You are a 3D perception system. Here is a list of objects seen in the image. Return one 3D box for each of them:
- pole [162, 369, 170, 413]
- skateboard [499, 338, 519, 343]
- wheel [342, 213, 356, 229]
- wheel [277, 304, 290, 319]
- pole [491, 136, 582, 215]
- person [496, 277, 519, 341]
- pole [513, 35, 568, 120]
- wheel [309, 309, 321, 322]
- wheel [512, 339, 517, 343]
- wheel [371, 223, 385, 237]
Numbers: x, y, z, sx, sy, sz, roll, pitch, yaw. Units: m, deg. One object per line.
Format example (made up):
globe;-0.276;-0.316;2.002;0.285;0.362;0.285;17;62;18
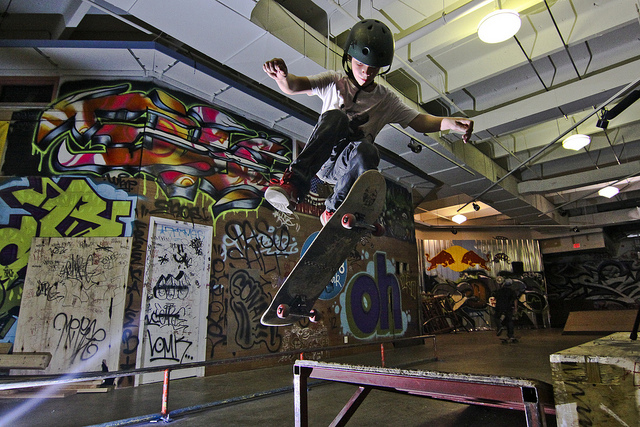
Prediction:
pole;-2.468;2.796;6.532;0.082;0.647;0.204;3;-8;-23
skateboard;6.004;3.969;12.995;0.454;0.139;0.775;-3;-7;23
wheel;0.350;0.088;5.137;0.163;0.175;0.170;1;-1;0
wheel;-0.495;1.262;5.340;0.188;0.178;0.087;5;-13;24
pole;6.888;-1.275;13.256;4.330;0.151;0.070;33;9;-12
person;6.052;3.116;13.348;0.628;1.873;0.875;-3;-7;22
pole;5.136;-3.216;9.528;2.912;0.123;0.301;32;-13;-40
wheel;-0.085;1.385;5.615;0.125;0.171;0.278;1;-7;-3
wheel;6.112;3.973;12.865;0.165;0.095;0.102;0;-7;0
wheel;0.788;0.213;5.570;0.152;0.164;0.313;-2;-7;19
